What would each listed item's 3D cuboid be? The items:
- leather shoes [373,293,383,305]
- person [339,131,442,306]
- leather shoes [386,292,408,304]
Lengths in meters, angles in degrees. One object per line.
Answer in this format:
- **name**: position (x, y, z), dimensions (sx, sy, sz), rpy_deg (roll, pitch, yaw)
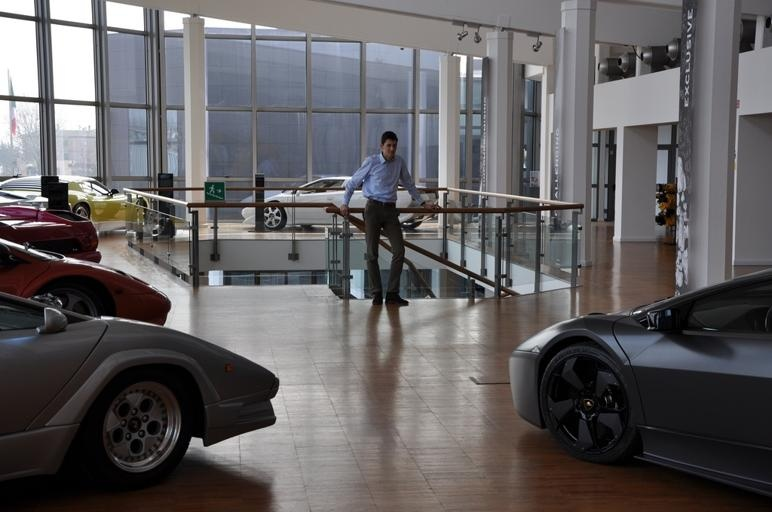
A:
- **leather shoes**: position (-0.132, 0.625, 8.621), dimensions (0.101, 0.164, 0.169), rpy_deg (1, 13, -13)
- **person**: position (-0.058, -0.580, 8.630), dimensions (1.182, 2.535, 0.744), rpy_deg (-1, 7, -11)
- **leather shoes**: position (0.130, 0.615, 8.660), dimensions (0.404, 0.190, 0.137), rpy_deg (0, 0, -12)
